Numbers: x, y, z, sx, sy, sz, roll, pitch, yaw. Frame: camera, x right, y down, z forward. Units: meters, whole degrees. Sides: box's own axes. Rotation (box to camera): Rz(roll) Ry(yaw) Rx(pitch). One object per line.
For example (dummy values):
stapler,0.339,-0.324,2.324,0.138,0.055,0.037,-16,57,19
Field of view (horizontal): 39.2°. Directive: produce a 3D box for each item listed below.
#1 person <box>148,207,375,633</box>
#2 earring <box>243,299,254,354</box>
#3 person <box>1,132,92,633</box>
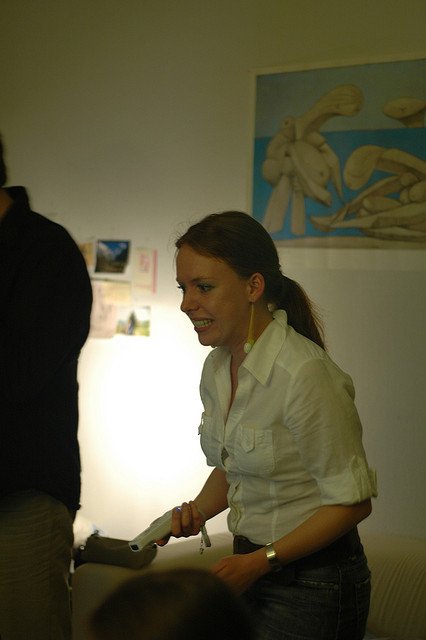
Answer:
person,0.091,0.174,1.193,0.418,0.783,0.406,1,6,-4
earring,0.075,0.014,1.215,0.019,0.111,0.037,2,7,3
person,-0.286,0.115,1.004,0.154,0.828,0.217,1,7,-10
